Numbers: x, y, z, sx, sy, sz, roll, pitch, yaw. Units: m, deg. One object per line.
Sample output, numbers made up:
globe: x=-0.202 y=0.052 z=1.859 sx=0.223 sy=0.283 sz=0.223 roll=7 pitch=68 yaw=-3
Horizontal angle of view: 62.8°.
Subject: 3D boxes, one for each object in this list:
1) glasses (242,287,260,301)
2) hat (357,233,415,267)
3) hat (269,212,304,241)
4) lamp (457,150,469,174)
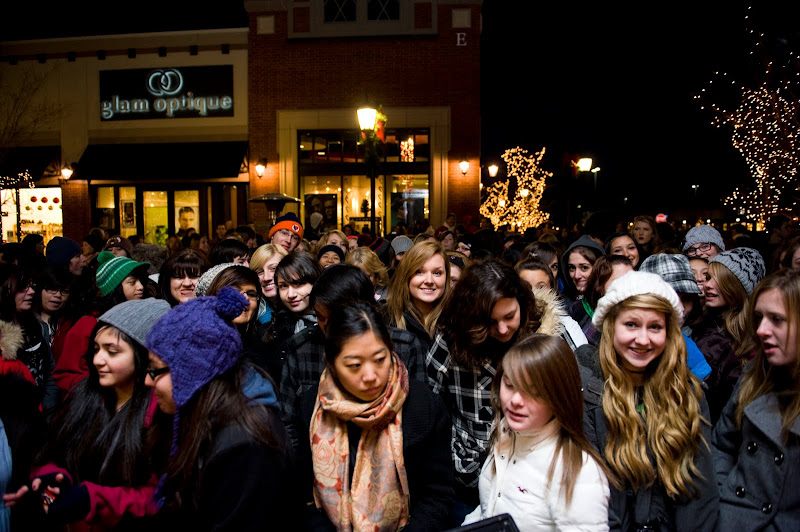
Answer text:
glasses: x=-1.569 y=0.294 z=6.870 sx=0.135 sy=0.077 sz=0.144 roll=-2 pitch=-3 yaw=-29
hat: x=-0.133 y=-0.270 z=10.226 sx=0.457 sy=0.365 sz=0.668 roll=-2 pitch=4 yaw=25
hat: x=-1.790 y=-0.679 z=10.448 sx=0.469 sy=0.505 sz=0.507 roll=11 pitch=-6 yaw=-21
lamp: x=1.927 y=-3.187 z=19.747 sx=0.380 sy=0.725 sz=0.458 roll=0 pitch=-5 yaw=4
